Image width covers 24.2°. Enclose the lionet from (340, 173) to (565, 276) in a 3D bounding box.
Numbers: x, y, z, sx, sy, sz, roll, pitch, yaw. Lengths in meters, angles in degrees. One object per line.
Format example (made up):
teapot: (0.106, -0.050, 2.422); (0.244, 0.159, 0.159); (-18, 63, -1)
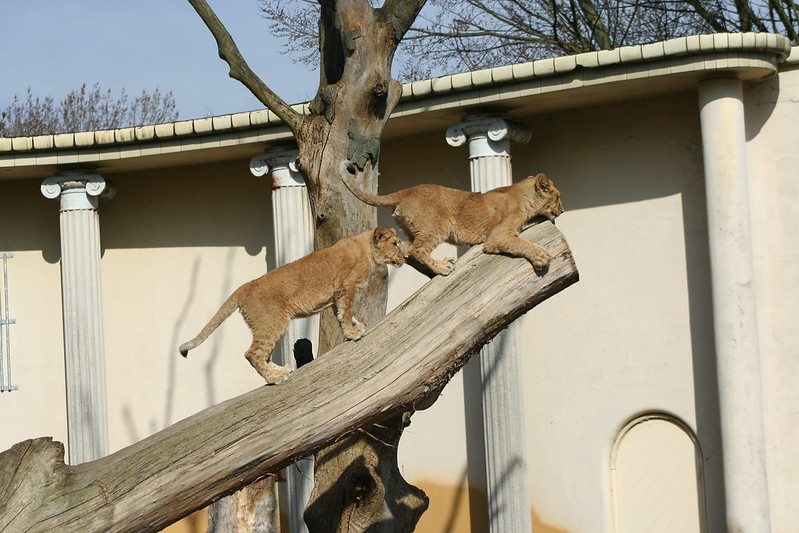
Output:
lionet: (0.659, -0.511, 23.215); (2.849, 1.389, 0.904); (1, 1, -6)
